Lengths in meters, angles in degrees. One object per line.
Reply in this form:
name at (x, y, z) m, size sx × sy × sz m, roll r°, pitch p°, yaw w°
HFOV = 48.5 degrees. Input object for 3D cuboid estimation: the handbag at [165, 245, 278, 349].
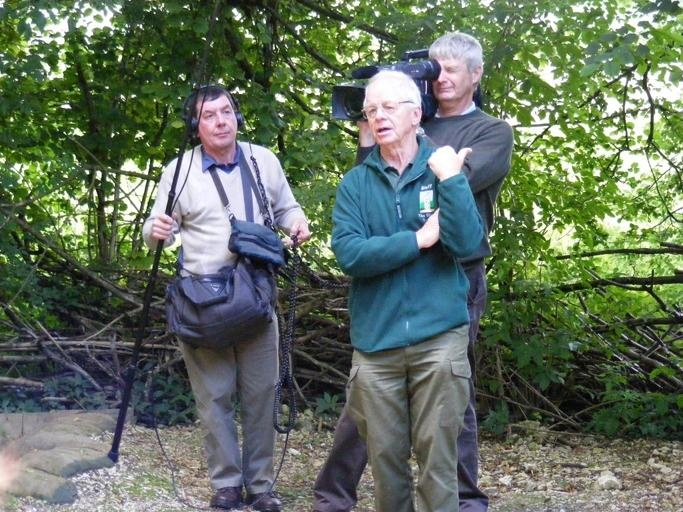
handbag at (-0.758, 0.320, 4.772) m, size 0.556 × 0.341 × 0.661 m, roll -8°, pitch 34°, yaw 2°

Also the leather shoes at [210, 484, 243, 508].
leather shoes at (-0.736, 1.540, 4.846) m, size 0.222 × 0.134 × 0.129 m, roll 2°, pitch -4°, yaw -21°
